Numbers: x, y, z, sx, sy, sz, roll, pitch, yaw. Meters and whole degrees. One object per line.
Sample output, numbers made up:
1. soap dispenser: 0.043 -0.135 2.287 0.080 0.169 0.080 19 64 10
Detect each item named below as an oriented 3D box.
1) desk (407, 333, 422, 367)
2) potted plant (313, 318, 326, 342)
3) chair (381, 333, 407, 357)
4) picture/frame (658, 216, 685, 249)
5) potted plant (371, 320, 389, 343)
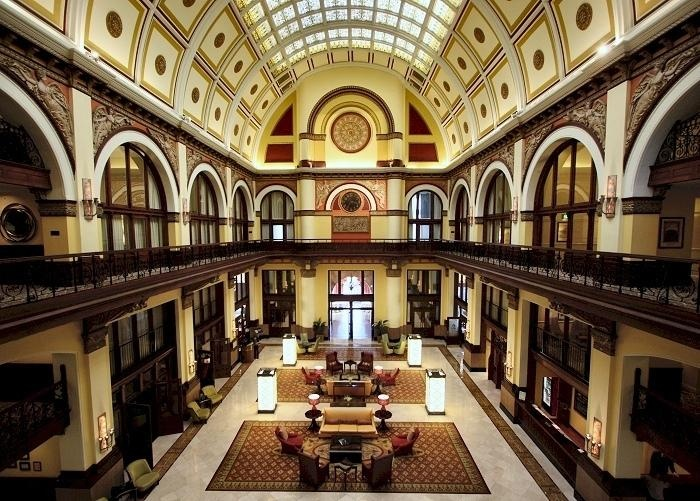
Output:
1. desk: 3.197 5.072 21.099 0.833 1.425 0.914 -8 -35 21
2. potted plant: -1.728 4.510 24.670 0.844 1.281 0.886 0 -1 -2
3. chair: 2.326 4.996 22.913 1.021 0.803 0.942 2 -3 -5
4. picture/frame: 8.909 -0.532 12.012 0.781 1.238 0.042 0 1 -5
5. potted plant: 1.776 4.597 24.966 1.021 1.252 0.998 0 0 -2
